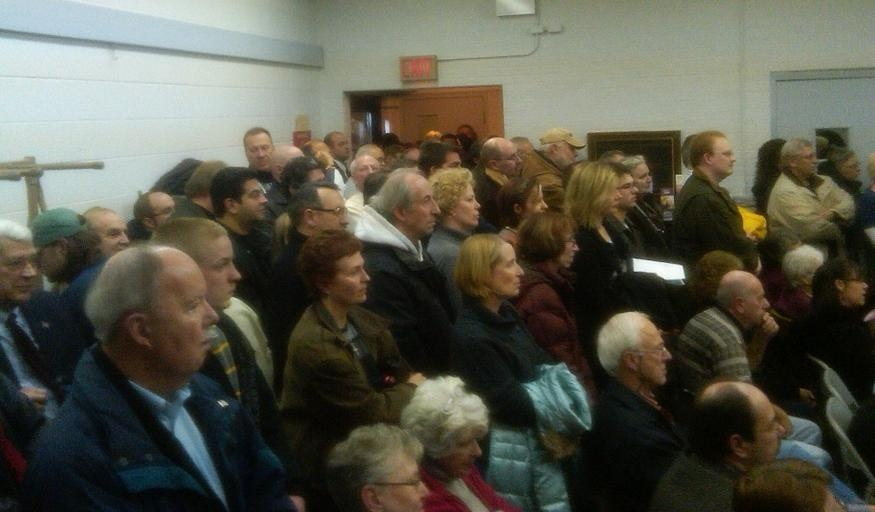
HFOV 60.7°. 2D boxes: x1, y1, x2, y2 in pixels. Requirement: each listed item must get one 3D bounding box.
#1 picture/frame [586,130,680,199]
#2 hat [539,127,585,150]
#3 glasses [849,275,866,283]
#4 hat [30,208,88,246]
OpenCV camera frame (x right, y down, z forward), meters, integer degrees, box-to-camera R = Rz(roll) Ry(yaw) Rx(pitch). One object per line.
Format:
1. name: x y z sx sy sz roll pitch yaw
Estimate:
1. picture/frame: 2.666 -1.149 10.087 1.372 1.090 0.109 -7 12 -12
2. hat: 1.460 -1.425 8.985 0.586 0.236 0.367 1 12 0
3. glasses: 3.203 0.175 5.696 0.083 0.024 0.084 -3 11 -38
4. hat: -2.617 -0.212 5.159 0.301 0.183 0.298 -12 12 21
